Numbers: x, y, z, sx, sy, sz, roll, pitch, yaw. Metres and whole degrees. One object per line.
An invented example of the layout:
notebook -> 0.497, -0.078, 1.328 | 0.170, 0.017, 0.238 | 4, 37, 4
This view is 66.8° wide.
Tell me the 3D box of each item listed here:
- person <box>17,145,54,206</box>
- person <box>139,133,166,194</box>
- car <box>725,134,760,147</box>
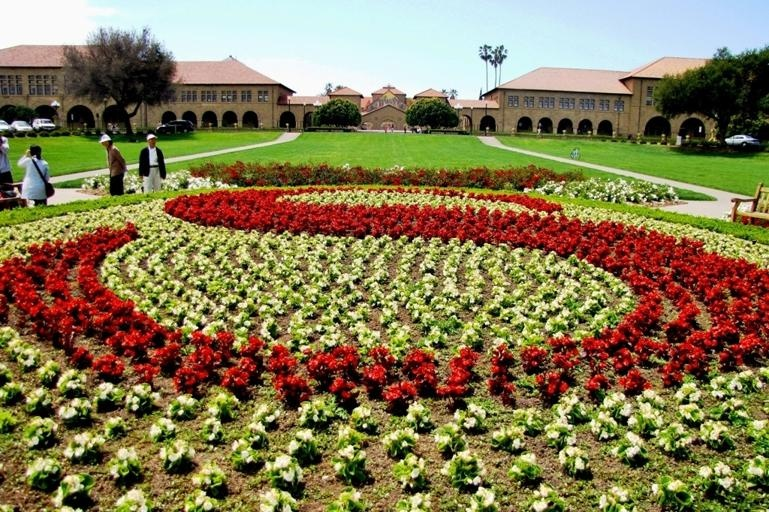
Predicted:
person -> -7.905, -1.763, 13.129 | 0.619, 1.489, 2.087 | -8, 19, -31
person -> -6.008, -2.449, 15.037 | 0.583, 1.430, 2.070 | -4, 17, -21
car -> 29.080, -9.301, 47.283 | 2.208, 0.635, 3.562 | 9, 17, 24
